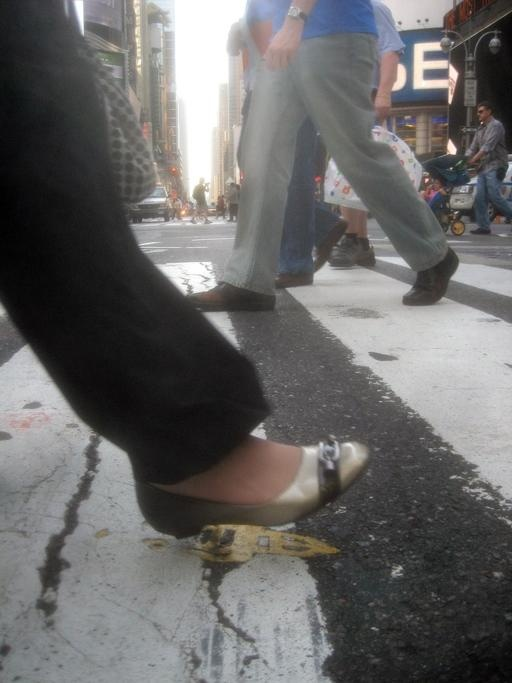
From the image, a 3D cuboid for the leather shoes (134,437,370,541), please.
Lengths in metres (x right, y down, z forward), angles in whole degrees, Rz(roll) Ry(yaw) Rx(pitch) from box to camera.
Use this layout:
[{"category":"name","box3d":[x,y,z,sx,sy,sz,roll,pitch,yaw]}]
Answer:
[{"category":"leather shoes","box3d":[0.011,0.236,0.906,0.399,0.127,0.140,-11,10,1]}]

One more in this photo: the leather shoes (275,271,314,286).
[{"category":"leather shoes","box3d":[0.257,-0.449,3.999,0.309,0.127,0.100,-1,10,-16]}]

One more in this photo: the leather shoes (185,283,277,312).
[{"category":"leather shoes","box3d":[-0.133,-0.226,3.222,0.588,0.205,0.226,3,3,-2]}]
